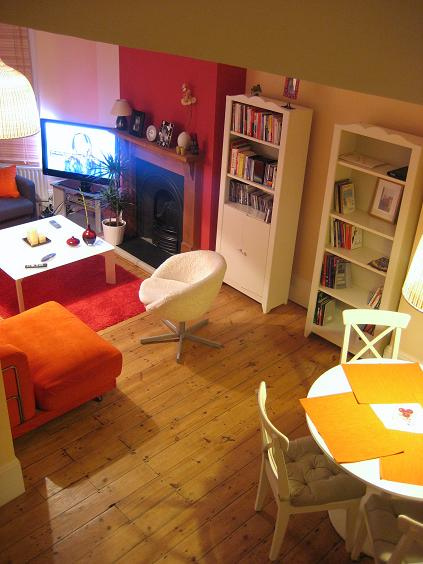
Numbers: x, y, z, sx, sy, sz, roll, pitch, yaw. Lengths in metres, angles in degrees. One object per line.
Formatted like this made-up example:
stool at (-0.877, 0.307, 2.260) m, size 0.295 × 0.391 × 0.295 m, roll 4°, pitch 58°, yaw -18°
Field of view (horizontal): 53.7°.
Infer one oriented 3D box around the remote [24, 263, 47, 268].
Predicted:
remote at (-1.899, -0.185, 4.534) m, size 0.111 × 0.022 × 0.073 m, roll -1°, pitch 29°, yaw -5°

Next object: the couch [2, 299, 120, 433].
couch at (-1.346, 0.605, 3.487) m, size 0.873 × 0.372 × 0.837 m, roll -18°, pitch 43°, yaw -36°

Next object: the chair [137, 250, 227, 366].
chair at (-0.297, 0.192, 4.211) m, size 0.844 × 0.878 × 0.912 m, roll -4°, pitch 25°, yaw -10°

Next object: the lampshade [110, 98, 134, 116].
lampshade at (-1.170, -2.272, 5.518) m, size 0.247 × 0.238 × 0.247 m, roll -33°, pitch 54°, yaw -32°

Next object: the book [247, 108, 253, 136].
book at (0.390, -1.688, 4.395) m, size 0.053 × 0.260 × 0.042 m, roll 21°, pitch 26°, yaw 35°

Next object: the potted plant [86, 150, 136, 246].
potted plant at (-1.410, -1.214, 5.953) m, size 0.436 × 1.254 × 0.629 m, roll -13°, pitch 28°, yaw -39°

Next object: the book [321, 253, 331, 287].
book at (1.153, -0.122, 4.269) m, size 0.059 × 0.351 × 0.056 m, roll 21°, pitch 27°, yaw 36°

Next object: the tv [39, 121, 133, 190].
tv at (-1.800, -1.827, 5.996) m, size 1.513 × 0.876 × 0.110 m, roll 18°, pitch 31°, yaw 20°

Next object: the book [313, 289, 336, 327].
book at (1.174, 0.260, 4.406) m, size 0.167 × 0.265 × 0.283 m, roll 30°, pitch 47°, yaw 30°

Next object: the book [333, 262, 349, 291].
book at (1.305, -0.069, 4.247) m, size 0.230 × 0.299 × 0.032 m, roll -22°, pitch 39°, yaw -29°

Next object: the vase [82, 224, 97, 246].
vase at (-1.471, -0.566, 5.041) m, size 0.147 × 0.224 × 0.165 m, roll 4°, pitch 21°, yaw -2°

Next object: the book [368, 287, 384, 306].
book at (1.544, 0.130, 3.902) m, size 0.042 × 0.139 × 0.103 m, roll 26°, pitch 16°, yaw 9°

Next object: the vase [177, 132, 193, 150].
vase at (-0.311, -1.659, 4.901) m, size 0.133 × 0.195 × 0.149 m, roll -9°, pitch 25°, yaw -32°

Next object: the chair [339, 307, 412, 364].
chair at (1.387, 0.445, 3.463) m, size 0.422 × 0.603 × 0.404 m, roll 9°, pitch 50°, yaw 9°

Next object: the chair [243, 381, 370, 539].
chair at (0.598, 1.148, 2.592) m, size 0.711 × 0.883 × 0.690 m, roll -18°, pitch 19°, yaw -41°

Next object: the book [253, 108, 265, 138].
book at (0.492, -1.672, 4.335) m, size 0.185 × 0.254 × 0.198 m, roll 9°, pitch 35°, yaw 10°

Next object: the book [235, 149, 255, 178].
book at (0.373, -1.323, 4.629) m, size 0.137 × 0.227 × 0.243 m, roll 16°, pitch 46°, yaw 11°
